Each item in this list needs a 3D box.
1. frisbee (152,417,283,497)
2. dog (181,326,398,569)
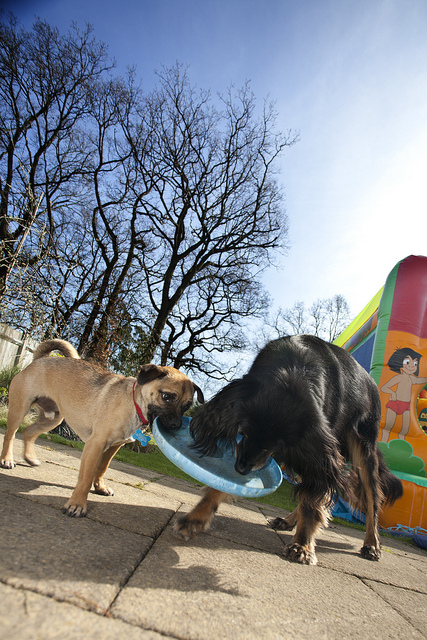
[{"bbox_3d":[-0.023,0.756,2.341,0.607,0.123,0.504,28,-9,23],"label":"frisbee"},{"bbox_3d":[0.781,0.998,3.158,0.988,1.187,2.029,12,-4,42],"label":"dog"}]
